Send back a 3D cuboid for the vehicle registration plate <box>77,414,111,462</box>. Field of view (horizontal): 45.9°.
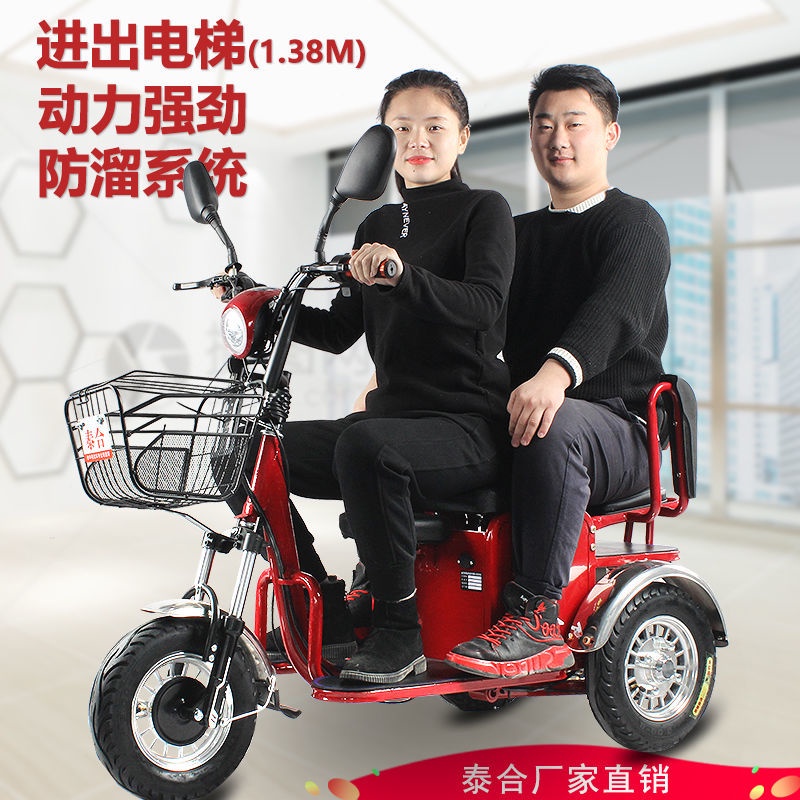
[{"bbox_3d":[-0.529,0.066,1.638,0.074,0.085,0.009,-6,-4,36],"label":"vehicle registration plate"}]

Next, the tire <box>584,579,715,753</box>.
[{"bbox_3d":[0.549,0.587,2.107,0.331,0.389,0.108,-8,12,-31],"label":"tire"}]

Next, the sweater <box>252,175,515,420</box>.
[{"bbox_3d":[0.022,-0.223,2.112,0.417,0.592,0.535,9,-8,-43],"label":"sweater"}]

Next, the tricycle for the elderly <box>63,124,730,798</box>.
[{"bbox_3d":[-0.153,0.287,2.598,1.686,1.705,0.960,4,-9,-33],"label":"tricycle for the elderly"}]

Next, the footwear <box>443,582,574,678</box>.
[{"bbox_3d":[0.238,0.496,2.019,0.313,0.207,0.120,8,-12,-24],"label":"footwear"}]

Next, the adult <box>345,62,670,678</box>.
[{"bbox_3d":[0.230,-0.100,2.340,0.695,1.467,0.600,8,-6,-10],"label":"adult"}]

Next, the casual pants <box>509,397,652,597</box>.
[{"bbox_3d":[0.379,0.220,2.122,0.359,0.460,0.330,9,-3,-9],"label":"casual pants"}]

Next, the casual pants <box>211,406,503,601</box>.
[{"bbox_3d":[-0.048,0.266,2.005,0.382,0.335,0.408,16,-20,-31],"label":"casual pants"}]

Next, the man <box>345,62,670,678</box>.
[{"bbox_3d":[0.272,-0.087,2.365,0.679,1.456,0.588,5,-5,1],"label":"man"}]

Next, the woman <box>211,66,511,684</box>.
[{"bbox_3d":[-0.040,-0.085,2.098,0.562,1.357,0.619,12,-10,-41],"label":"woman"}]

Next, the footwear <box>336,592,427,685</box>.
[{"bbox_3d":[-0.038,0.477,1.891,0.098,0.179,0.246,-12,-11,33],"label":"footwear"}]
